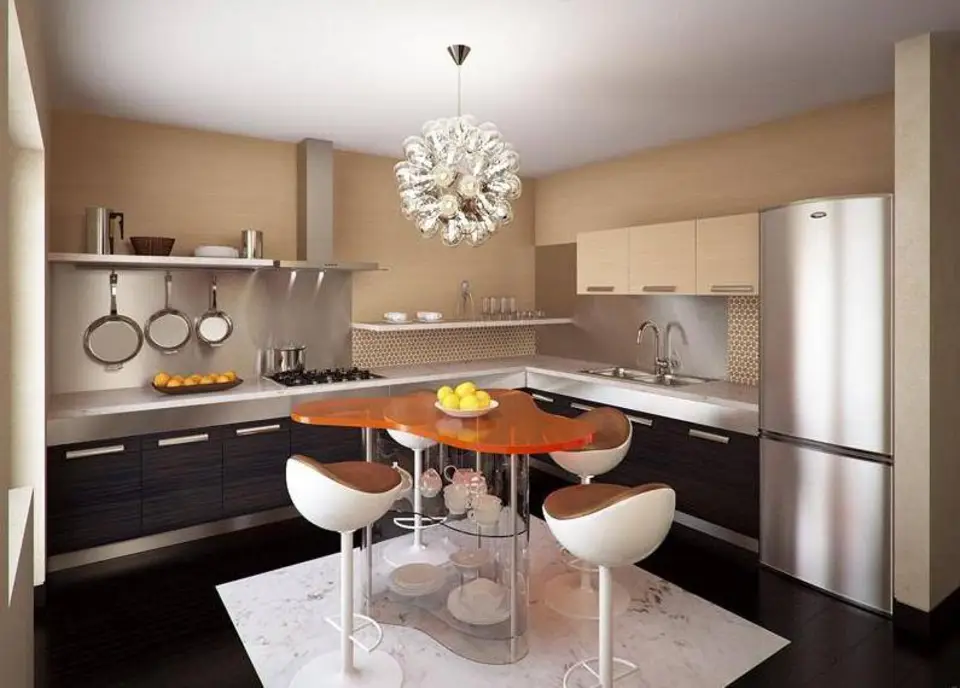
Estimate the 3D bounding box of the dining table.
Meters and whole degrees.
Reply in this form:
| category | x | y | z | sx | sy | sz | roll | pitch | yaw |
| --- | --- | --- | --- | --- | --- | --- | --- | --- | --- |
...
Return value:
| category | x | y | z | sx | sy | sz | roll | pitch | yaw |
| --- | --- | --- | --- | --- | --- | --- | --- | --- | --- |
| dining table | -0.143 | 1.084 | 3.467 | 1.649 | 0.818 | 1.344 | 0 | 0 | 42 |

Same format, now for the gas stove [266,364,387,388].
| category | x | y | z | sx | sy | sz | roll | pitch | yaw |
| --- | --- | --- | --- | --- | --- | --- | --- | --- | --- |
| gas stove | -1.273 | 0.265 | 5.290 | 0.899 | 0.114 | 0.488 | -5 | 13 | -20 |

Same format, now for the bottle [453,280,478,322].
| category | x | y | z | sx | sy | sz | roll | pitch | yaw |
| --- | --- | --- | --- | --- | --- | --- | --- | --- | --- |
| bottle | -0.138 | -0.454 | 6.440 | 0.213 | 0.376 | 0.250 | -1 | 13 | -2 |

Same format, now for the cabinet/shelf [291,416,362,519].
| category | x | y | z | sx | sy | sz | roll | pitch | yaw |
| --- | --- | --- | --- | --- | --- | --- | --- | --- | --- |
| cabinet/shelf | -1.225 | 0.961 | 5.079 | 0.635 | 0.572 | 0.337 | 1 | 4 | -33 |

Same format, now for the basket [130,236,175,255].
| category | x | y | z | sx | sy | sz | roll | pitch | yaw |
| --- | --- | --- | --- | --- | --- | --- | --- | --- | --- |
| basket | -2.429 | -0.711 | 4.683 | 0.280 | 0.144 | 0.263 | -2 | 13 | -9 |

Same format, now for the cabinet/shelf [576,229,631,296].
| category | x | y | z | sx | sy | sz | roll | pitch | yaw |
| --- | --- | --- | --- | --- | --- | --- | --- | --- | --- |
| cabinet/shelf | 1.107 | -0.722 | 5.662 | 0.353 | 0.605 | 0.627 | 1 | -2 | -33 |

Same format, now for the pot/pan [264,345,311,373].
| category | x | y | z | sx | sy | sz | roll | pitch | yaw |
| --- | --- | --- | --- | --- | --- | --- | --- | --- | --- |
| pot/pan | -1.599 | 0.128 | 5.375 | 0.223 | 0.239 | 0.286 | 1 | -1 | -36 |

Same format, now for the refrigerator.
| category | x | y | z | sx | sy | sz | roll | pitch | yaw |
| --- | --- | --- | --- | --- | --- | --- | --- | --- | --- |
| refrigerator | 2.174 | 0.327 | 3.970 | 0.962 | 2.436 | 0.461 | 9 | 16 | 34 |

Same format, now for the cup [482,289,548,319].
| category | x | y | z | sx | sy | sz | roll | pitch | yaw |
| --- | --- | --- | --- | --- | --- | --- | --- | --- | --- |
| cup | 0.317 | -0.360 | 6.355 | 0.589 | 0.212 | 0.224 | -1 | 13 | -4 |

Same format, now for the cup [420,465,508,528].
| category | x | y | z | sx | sy | sz | roll | pitch | yaw |
| --- | --- | --- | --- | --- | --- | --- | --- | --- | --- |
| cup | -0.098 | 0.840 | 3.542 | 0.278 | 0.172 | 0.393 | 0 | 1 | -42 |

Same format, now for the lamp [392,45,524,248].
| category | x | y | z | sx | sy | sz | roll | pitch | yaw |
| --- | --- | --- | --- | --- | --- | --- | --- | --- | --- |
| lamp | -0.119 | -0.887 | 3.481 | 0.663 | 0.702 | 0.294 | 0 | 13 | 2 |

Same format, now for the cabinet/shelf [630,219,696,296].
| category | x | y | z | sx | sy | sz | roll | pitch | yaw |
| --- | --- | --- | --- | --- | --- | --- | --- | --- | --- |
| cabinet/shelf | 1.496 | -0.692 | 5.182 | 0.395 | 0.605 | 0.655 | -2 | 3 | -40 |

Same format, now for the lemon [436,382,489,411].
| category | x | y | z | sx | sy | sz | roll | pitch | yaw |
| --- | --- | --- | --- | --- | --- | --- | --- | --- | --- |
| lemon | -0.073 | 0.290 | 3.619 | 0.224 | 0.115 | 0.165 | 2 | -1 | -28 |

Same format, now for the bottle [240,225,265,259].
| category | x | y | z | sx | sy | sz | roll | pitch | yaw |
| --- | --- | --- | --- | --- | --- | --- | --- | --- | --- |
| bottle | -1.800 | -0.785 | 5.047 | 0.169 | 0.219 | 0.302 | -5 | 14 | -22 |
